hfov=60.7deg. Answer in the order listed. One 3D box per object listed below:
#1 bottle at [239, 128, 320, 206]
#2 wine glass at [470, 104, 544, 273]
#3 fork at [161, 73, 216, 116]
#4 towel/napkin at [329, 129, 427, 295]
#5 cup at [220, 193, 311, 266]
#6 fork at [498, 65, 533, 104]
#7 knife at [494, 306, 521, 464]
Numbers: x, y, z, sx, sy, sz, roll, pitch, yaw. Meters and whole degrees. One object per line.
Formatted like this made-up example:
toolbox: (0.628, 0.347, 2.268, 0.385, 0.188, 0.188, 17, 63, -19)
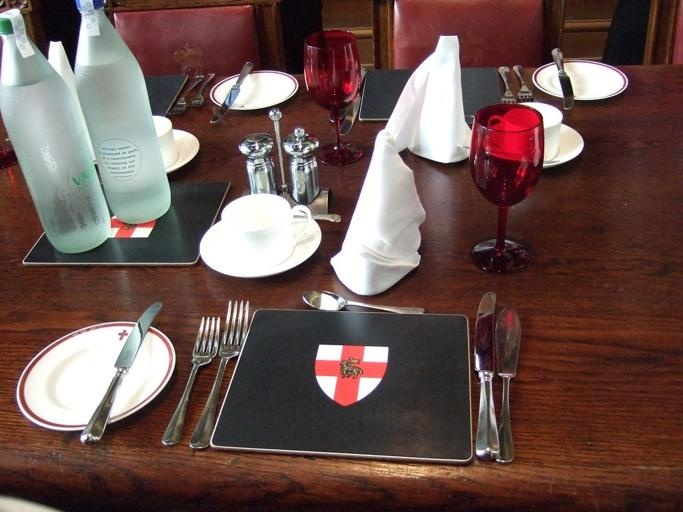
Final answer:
bottle: (-0.112, -0.153, 1.039, 0.153, 0.171, 0.076, 4, 43, 3)
wine glass: (0.246, -0.103, 0.882, 0.101, 0.245, 0.105, -8, 31, -4)
fork: (-0.374, -0.396, 1.406, 0.045, 0.008, 0.165, -6, 35, 13)
towel/napkin: (0.062, -0.070, 0.890, 0.169, 0.210, 0.117, -33, 50, -32)
cup: (-0.115, -0.049, 0.930, 0.128, 0.086, 0.107, 4, 45, 3)
fork: (0.383, -0.399, 1.294, 0.052, 0.018, 0.149, -4, 40, 7)
knife: (0.203, 0.154, 0.719, 0.035, 0.020, 0.257, -17, 27, 25)
